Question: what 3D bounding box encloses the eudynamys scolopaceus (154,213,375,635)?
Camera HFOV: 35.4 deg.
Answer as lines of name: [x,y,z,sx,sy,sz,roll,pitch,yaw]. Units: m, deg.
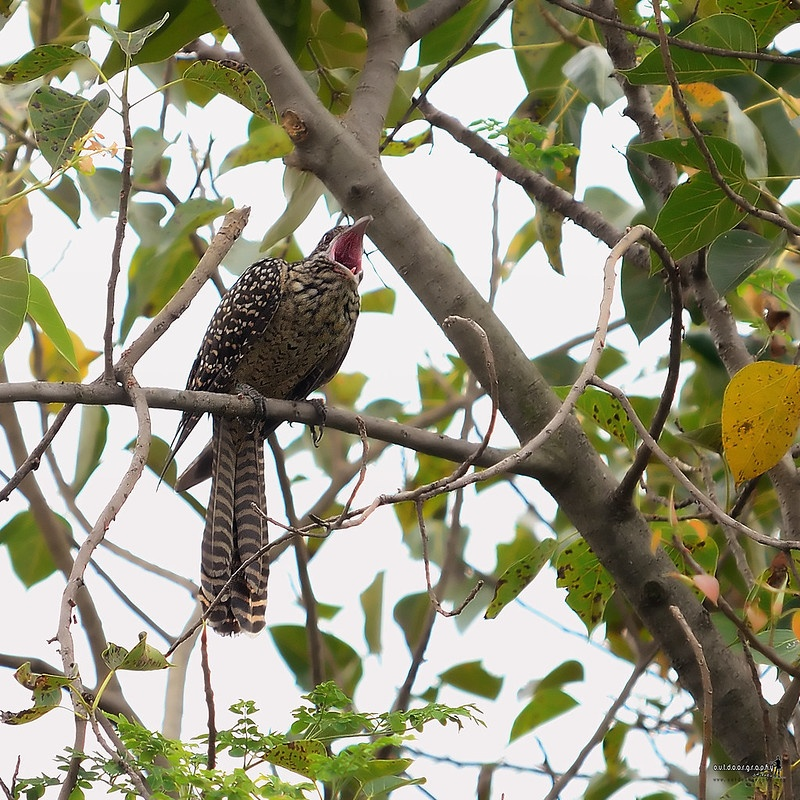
eudynamys scolopaceus: [-0.499,0.059,4.508,0.587,2.175,0.926,16,-54,-10]
